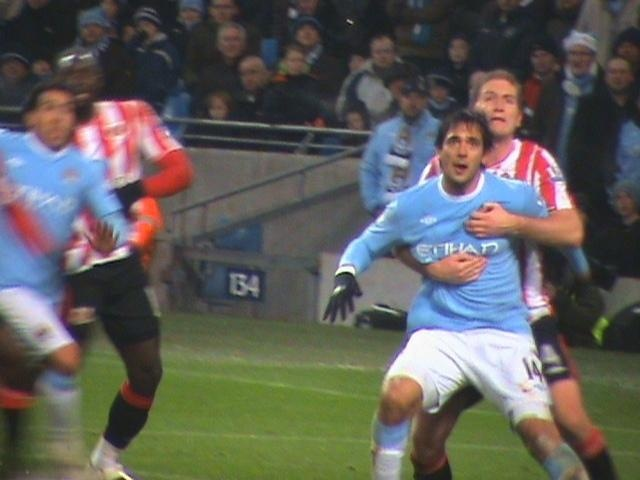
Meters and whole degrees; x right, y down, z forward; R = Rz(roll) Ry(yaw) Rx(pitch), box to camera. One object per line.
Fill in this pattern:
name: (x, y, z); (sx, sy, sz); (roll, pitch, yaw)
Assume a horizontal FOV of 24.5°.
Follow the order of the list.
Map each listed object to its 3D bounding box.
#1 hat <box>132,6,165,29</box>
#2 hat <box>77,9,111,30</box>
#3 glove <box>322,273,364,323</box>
hat: (-1.265, -1.611, 10.660); (0.152, 0.051, 0.152); (19, -13, 0)
hat: (-1.658, -1.590, 10.600); (0.279, 0.143, 0.082); (14, 21, 27)
glove: (0.123, 0.309, 8.568); (0.241, 0.355, 0.092); (7, 3, -9)
